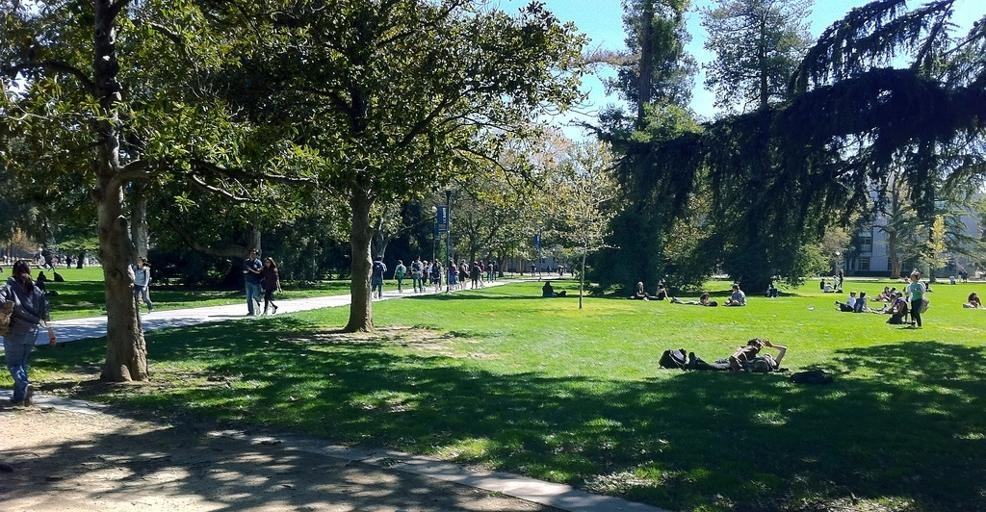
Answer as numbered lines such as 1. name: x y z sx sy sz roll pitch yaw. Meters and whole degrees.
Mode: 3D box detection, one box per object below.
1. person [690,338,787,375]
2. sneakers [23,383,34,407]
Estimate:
1. person: 8.384 3.425 29.355 2.139 0.668 1.467 -2 -1 5
2. sneakers: -13.279 3.964 25.279 0.265 0.651 0.304 8 6 -43
